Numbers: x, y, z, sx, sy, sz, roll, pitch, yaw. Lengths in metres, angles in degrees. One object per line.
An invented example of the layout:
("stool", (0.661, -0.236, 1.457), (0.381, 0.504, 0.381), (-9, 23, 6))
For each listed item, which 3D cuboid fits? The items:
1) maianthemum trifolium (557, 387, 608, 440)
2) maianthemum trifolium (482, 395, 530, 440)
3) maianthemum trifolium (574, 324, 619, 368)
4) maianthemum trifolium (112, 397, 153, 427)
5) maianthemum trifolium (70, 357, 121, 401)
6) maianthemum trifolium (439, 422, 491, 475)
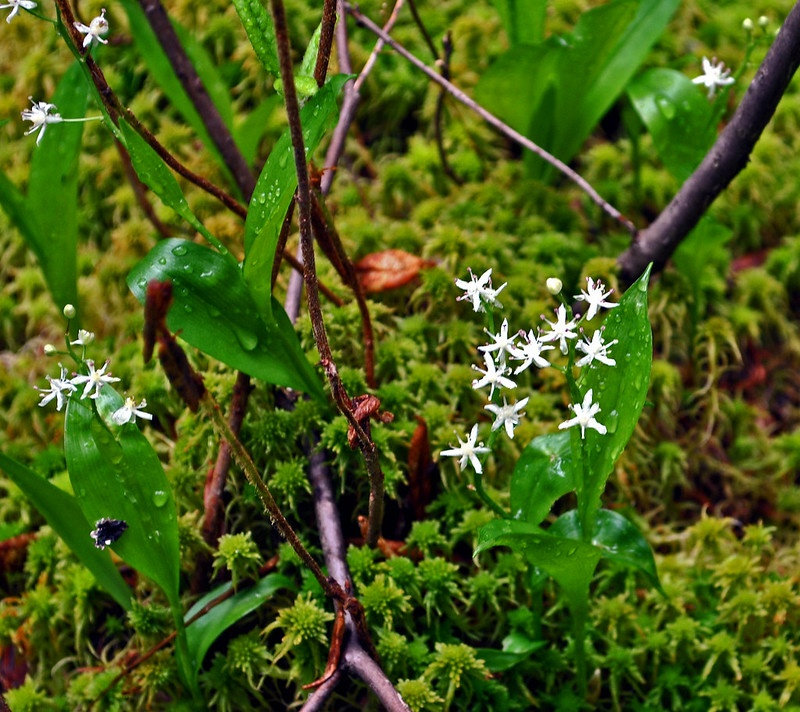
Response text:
("maianthemum trifolium", (0.386, 0.122, 1.677), (0.086, 0.113, 0.199), (-3, 3, 21))
("maianthemum trifolium", (0.223, 0.135, 1.705), (0.082, 0.105, 0.035), (13, -13, -12))
("maianthemum trifolium", (0.406, -0.002, 1.703), (0.075, 0.097, 0.037), (-17, -12, -12))
("maianthemum trifolium", (-0.620, 0.125, 1.858), (0.065, 0.036, 0.074), (-7, 16, 25))
("maianthemum trifolium", (-0.667, 0.057, 1.769), (0.092, 0.115, 0.048), (-13, -20, 18))
("maianthemum trifolium", (0.135, 0.233, 1.750), (0.111, 0.151, 0.039), (-9, -6, -32))
